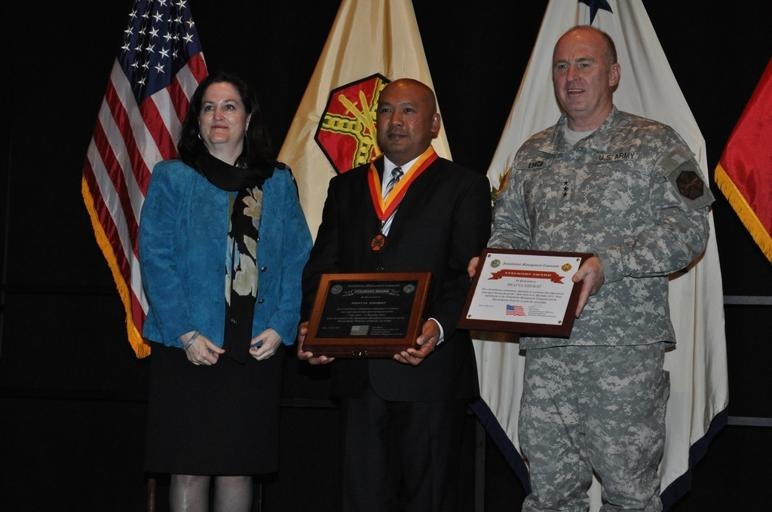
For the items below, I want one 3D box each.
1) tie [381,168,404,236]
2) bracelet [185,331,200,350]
[{"bbox_3d":[0.034,-0.293,3.522,0.077,0.375,0.053,15,-22,-7],"label":"tie"},{"bbox_3d":[-0.950,0.407,3.322,0.075,0.023,0.068,-51,14,-16],"label":"bracelet"}]
